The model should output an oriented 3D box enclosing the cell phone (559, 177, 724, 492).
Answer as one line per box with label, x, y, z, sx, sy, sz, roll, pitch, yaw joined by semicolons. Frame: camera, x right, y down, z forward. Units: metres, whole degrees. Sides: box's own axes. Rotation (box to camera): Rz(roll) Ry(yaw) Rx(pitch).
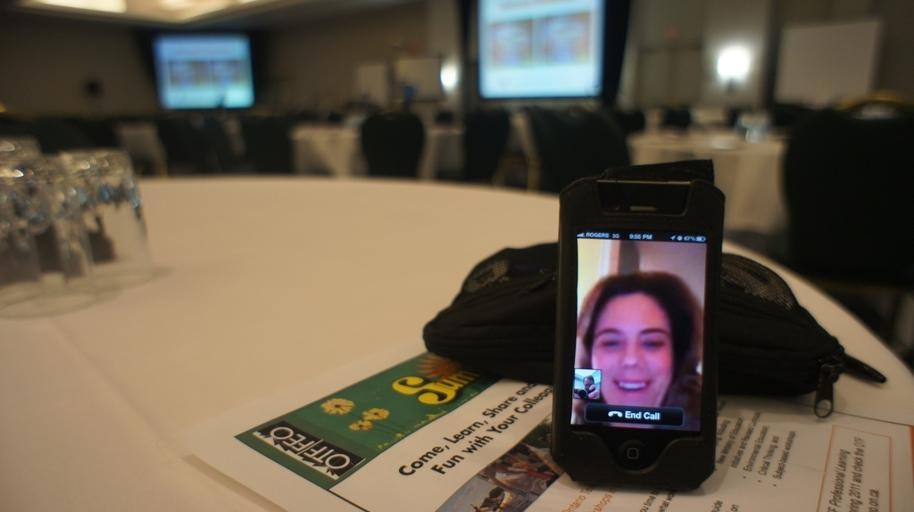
cell phone;0.195;0.082;0.672;0.170;0.320;0.151;1;19;14
